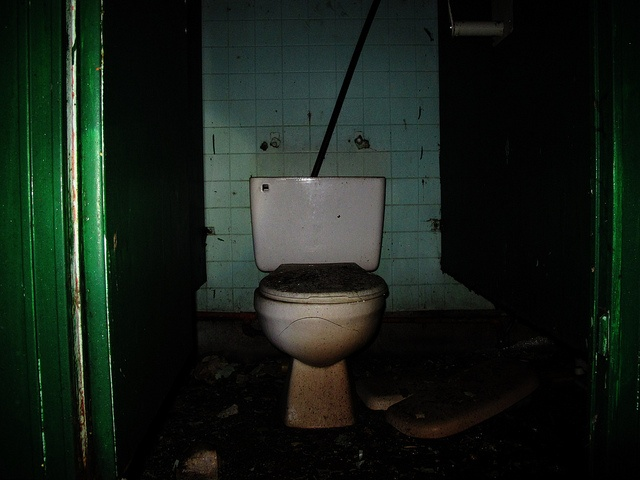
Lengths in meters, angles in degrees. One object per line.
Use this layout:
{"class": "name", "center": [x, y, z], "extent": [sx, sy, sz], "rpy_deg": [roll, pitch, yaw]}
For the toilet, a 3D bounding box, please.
{"class": "toilet", "center": [-0.023, 0.208, 2.242], "extent": [0.537, 0.846, 0.581], "rpy_deg": [1, 10, 4]}
